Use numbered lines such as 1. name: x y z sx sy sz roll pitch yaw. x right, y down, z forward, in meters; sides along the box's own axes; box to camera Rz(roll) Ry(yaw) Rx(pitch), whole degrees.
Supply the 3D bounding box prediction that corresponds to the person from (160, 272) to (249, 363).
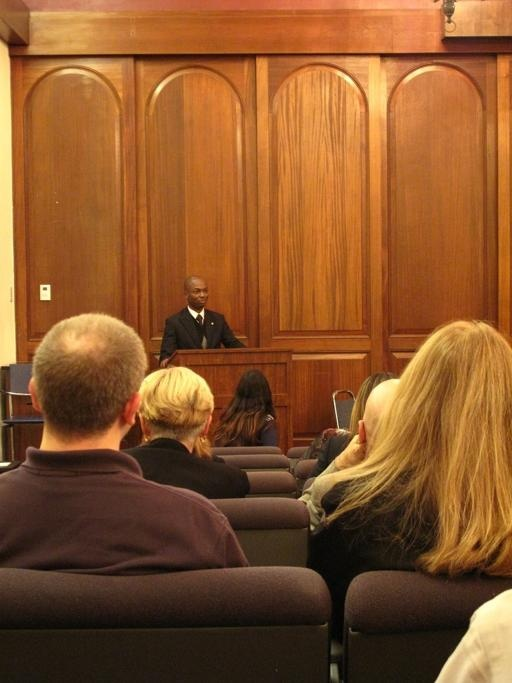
1. person: -0.507 -0.236 6.506 0.777 1.076 0.415 -1 -6 -20
